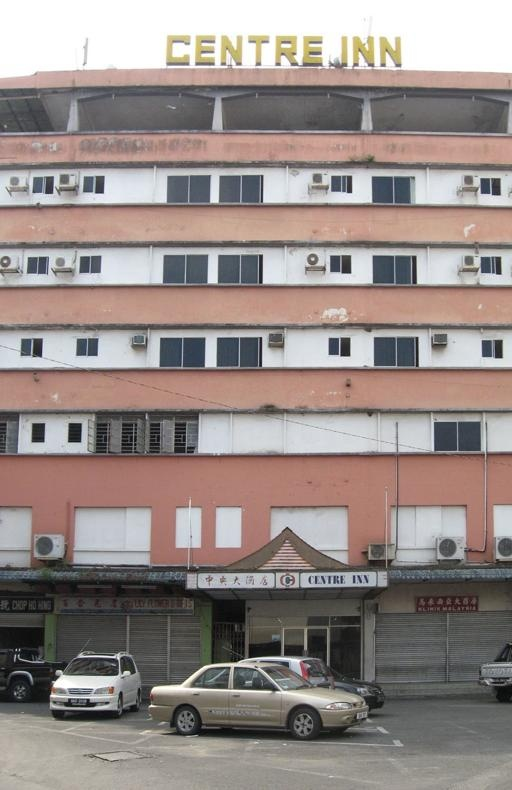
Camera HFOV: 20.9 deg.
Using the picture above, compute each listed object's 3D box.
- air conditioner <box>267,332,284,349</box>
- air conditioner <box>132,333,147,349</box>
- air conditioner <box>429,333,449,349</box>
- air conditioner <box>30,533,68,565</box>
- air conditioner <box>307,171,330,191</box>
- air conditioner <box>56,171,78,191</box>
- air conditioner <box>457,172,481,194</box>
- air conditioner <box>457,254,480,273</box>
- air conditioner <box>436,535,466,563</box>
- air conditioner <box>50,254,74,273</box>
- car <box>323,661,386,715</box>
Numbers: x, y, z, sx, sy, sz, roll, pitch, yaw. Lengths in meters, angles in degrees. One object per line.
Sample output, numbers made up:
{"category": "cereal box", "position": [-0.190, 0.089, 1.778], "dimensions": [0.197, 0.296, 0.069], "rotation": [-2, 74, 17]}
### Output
{"category": "air conditioner", "position": [0.638, -1.724, 43.798], "dimensions": [0.445, 0.504, 0.290], "rotation": [1, 3, 6]}
{"category": "air conditioner", "position": [-3.700, -1.788, 44.140], "dimensions": [0.520, 0.521, 0.588], "rotation": [3, -19, -7]}
{"category": "air conditioner", "position": [5.770, -1.728, 43.771], "dimensions": [0.460, 0.419, 0.687], "rotation": [0, -4, 19]}
{"category": "air conditioner", "position": [-6.204, 4.587, 41.706], "dimensions": [1.113, 1.035, 0.684], "rotation": [0, -16, 1]}
{"category": "air conditioner", "position": [2.062, -6.996, 45.426], "dimensions": [0.545, 0.580, 0.580], "rotation": [1, 4, 8]}
{"category": "air conditioner", "position": [-6.189, -7.093, 45.809], "dimensions": [0.691, 0.706, 0.660], "rotation": [2, -19, -4]}
{"category": "air conditioner", "position": [6.924, -6.970, 45.371], "dimensions": [0.751, 0.681, 0.678], "rotation": [0, -19, 2]}
{"category": "air conditioner", "position": [6.773, -4.166, 44.466], "dimensions": [0.770, 0.792, 0.462], "rotation": [2, -16, 0]}
{"category": "air conditioner", "position": [5.741, 4.580, 41.520], "dimensions": [1.005, 1.025, 0.607], "rotation": [0, -10, -3]}
{"category": "air conditioner", "position": [-6.296, -4.332, 45.107], "dimensions": [0.782, 0.723, 0.586], "rotation": [-1, -19, 6]}
{"category": "car", "position": [2.513, 7.144, 33.962], "dimensions": [1.802, 0.913, 1.119], "rotation": [-4, -8, 15]}
